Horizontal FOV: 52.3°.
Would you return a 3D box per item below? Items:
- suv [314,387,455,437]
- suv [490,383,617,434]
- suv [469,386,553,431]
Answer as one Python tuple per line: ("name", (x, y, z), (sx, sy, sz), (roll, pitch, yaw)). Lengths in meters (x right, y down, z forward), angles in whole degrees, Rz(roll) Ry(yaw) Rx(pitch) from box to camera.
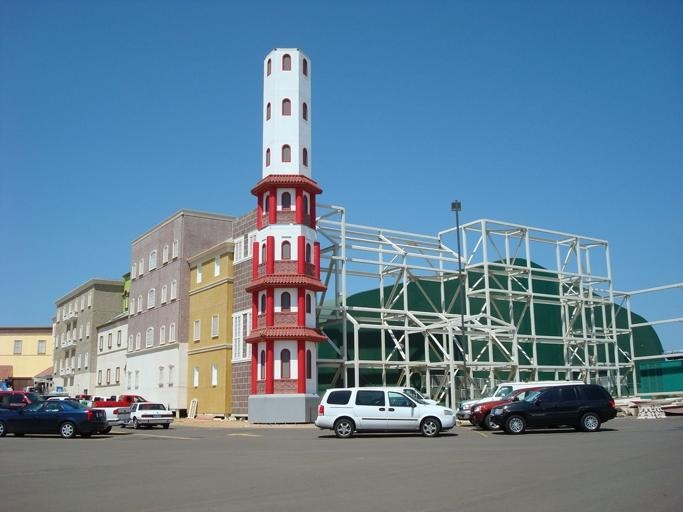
("suv", (1.657, 6.172, 27.522), (4.768, 1.570, 2.224), (-2, -10, 0))
("suv", (8.188, 5.913, 27.275), (4.472, 1.681, 2.016), (2, -12, -8))
("suv", (7.140, 6.395, 29.137), (3.245, 1.382, 1.664), (1, -11, -7))
